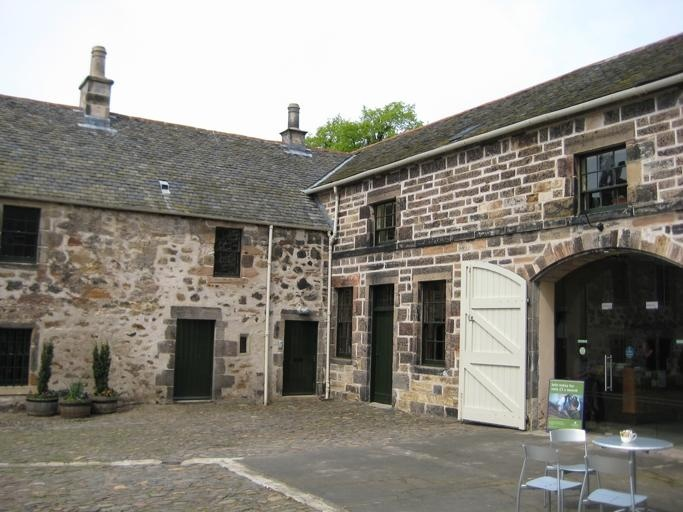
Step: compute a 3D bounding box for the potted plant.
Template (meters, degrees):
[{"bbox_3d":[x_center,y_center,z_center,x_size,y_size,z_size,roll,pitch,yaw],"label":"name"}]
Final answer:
[{"bbox_3d":[-5.981,2.772,14.189,1.756,1.384,1.708,7,-16,-29],"label":"potted plant"}]
